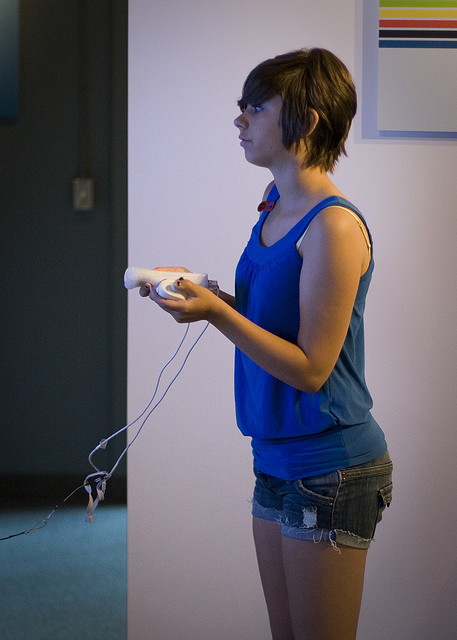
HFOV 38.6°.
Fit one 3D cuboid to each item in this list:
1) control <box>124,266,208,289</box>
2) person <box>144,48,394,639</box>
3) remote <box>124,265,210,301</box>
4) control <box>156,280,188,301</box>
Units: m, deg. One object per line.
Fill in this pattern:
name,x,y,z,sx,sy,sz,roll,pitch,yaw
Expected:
control,-0.107,-0.064,1.056,0.117,0.035,0.140,8,7,21
person,0.076,0.083,1.009,0.298,0.996,0.330,7,6,36
remote,-0.106,-0.069,0.999,0.149,0.078,0.056,3,7,3
control,-0.086,-0.042,0.947,0.034,0.013,0.027,21,35,25
